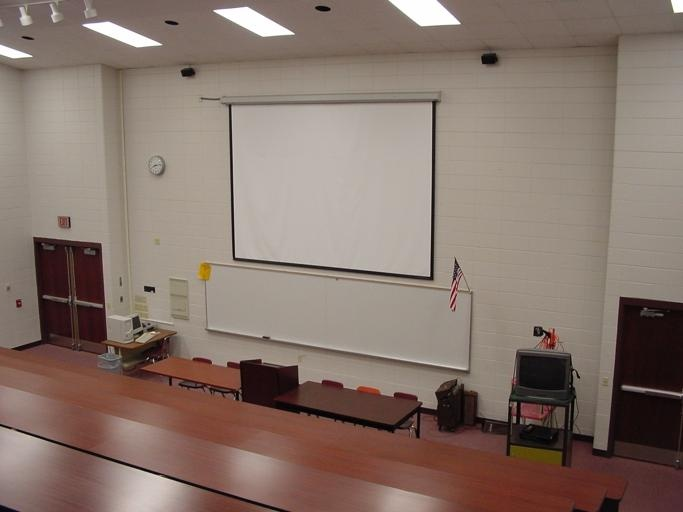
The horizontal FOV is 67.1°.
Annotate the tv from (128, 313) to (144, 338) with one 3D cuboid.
[{"bbox_3d":[-4.355,1.474,10.877,0.262,0.495,0.439,0,5,22],"label":"tv"}]

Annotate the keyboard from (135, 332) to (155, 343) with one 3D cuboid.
[{"bbox_3d":[-4.119,1.706,10.807,0.392,0.182,0.308,2,2,-24],"label":"keyboard"}]

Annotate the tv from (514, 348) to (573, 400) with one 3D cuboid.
[{"bbox_3d":[2.731,1.546,7.104,0.953,0.803,0.560,1,2,19],"label":"tv"}]

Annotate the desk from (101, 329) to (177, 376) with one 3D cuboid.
[{"bbox_3d":[-4.243,2.048,11.043,0.857,0.710,1.492,8,14,26],"label":"desk"}]

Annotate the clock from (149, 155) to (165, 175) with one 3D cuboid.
[{"bbox_3d":[-3.841,-1.937,11.040,0.392,0.390,0.398,21,17,37],"label":"clock"}]

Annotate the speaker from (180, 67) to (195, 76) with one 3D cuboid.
[{"bbox_3d":[-3.063,-3.684,10.299,0.253,0.190,0.176,0,11,21],"label":"speaker"}]

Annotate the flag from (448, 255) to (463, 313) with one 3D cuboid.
[{"bbox_3d":[1.925,0.468,8.626,0.203,0.765,0.434,4,2,12],"label":"flag"}]
